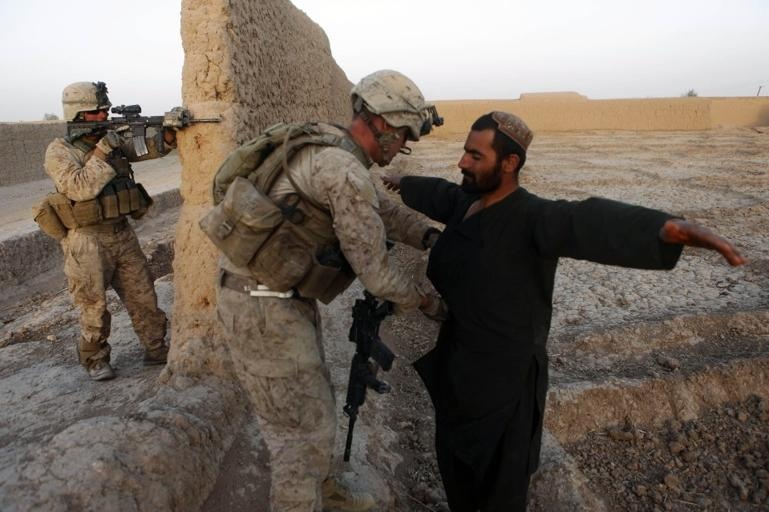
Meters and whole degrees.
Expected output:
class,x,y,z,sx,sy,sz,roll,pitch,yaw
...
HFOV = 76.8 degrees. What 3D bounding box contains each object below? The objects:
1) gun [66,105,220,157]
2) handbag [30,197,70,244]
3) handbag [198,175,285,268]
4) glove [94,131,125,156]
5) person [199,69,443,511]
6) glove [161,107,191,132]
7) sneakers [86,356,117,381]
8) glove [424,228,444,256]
class,x,y,z,sx,sy,sz,roll,pitch,yaw
gun,-2.061,-1.103,4.209,1.146,0.435,0.144,-4,8,-7
handbag,-2.819,-0.330,4.167,0.332,0.414,0.121,-2,17,2
handbag,-0.800,-0.181,2.711,0.485,0.502,0.155,2,18,14
glove,-2.364,-0.971,4.178,0.202,0.190,0.148,-12,19,-27
person,-0.375,0.226,2.919,1.233,2.512,0.738,-9,18,-20
glove,-1.647,-1.089,3.869,0.222,0.178,0.266,-10,19,-22
sneakers,-2.454,0.992,4.204,0.133,0.142,0.303,1,-6,-33
glove,0.315,-0.093,3.114,0.150,0.191,0.111,6,14,20
